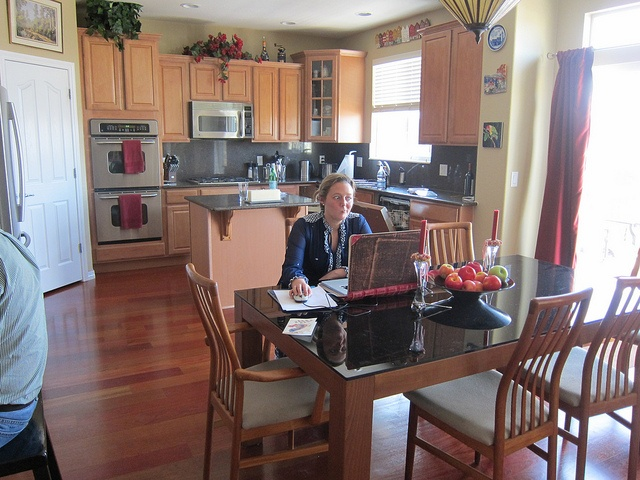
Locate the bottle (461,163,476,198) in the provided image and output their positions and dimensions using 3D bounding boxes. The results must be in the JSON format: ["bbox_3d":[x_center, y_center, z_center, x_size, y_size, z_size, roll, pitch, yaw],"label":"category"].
[{"bbox_3d":[1.680,-0.691,5.477,0.090,0.358,0.197,-1,12,-2],"label":"bottle"}]

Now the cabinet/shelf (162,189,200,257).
[{"bbox_3d":[-1.728,-0.209,6.472,0.554,1.032,0.582,-3,-6,-10],"label":"cabinet/shelf"}]

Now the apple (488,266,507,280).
[{"bbox_3d":[0.928,0.169,2.528,0.072,0.074,0.072,22,-3,29],"label":"apple"}]

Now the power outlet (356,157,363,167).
[{"bbox_3d":[0.605,-1.191,7.340,0.021,0.169,0.163,0,3,-28],"label":"power outlet"}]

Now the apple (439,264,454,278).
[{"bbox_3d":[0.676,0.174,2.582,0.065,0.068,0.066,14,-21,-24],"label":"apple"}]

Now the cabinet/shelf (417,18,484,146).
[{"bbox_3d":[1.380,-1.755,5.433,0.894,1.285,0.430,-10,22,-18],"label":"cabinet/shelf"}]

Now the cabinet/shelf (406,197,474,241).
[{"bbox_3d":[1.286,-0.197,5.320,0.385,0.746,0.763,-1,7,-21],"label":"cabinet/shelf"}]

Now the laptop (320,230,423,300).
[{"bbox_3d":[0.277,0.089,2.672,0.472,0.343,0.343,-6,17,-28],"label":"laptop"}]

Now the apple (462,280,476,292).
[{"bbox_3d":[0.746,0.227,2.427,0.051,0.051,0.052,-5,4,-40],"label":"apple"}]

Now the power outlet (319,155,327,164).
[{"bbox_3d":[0.037,-1.287,7.690,0.162,0.194,0.024,-5,21,-14],"label":"power outlet"}]

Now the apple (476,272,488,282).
[{"bbox_3d":[0.835,0.181,2.493,0.049,0.049,0.050,-11,34,15],"label":"apple"}]

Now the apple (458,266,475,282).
[{"bbox_3d":[0.752,0.175,2.488,0.072,0.071,0.074,1,-11,-1],"label":"apple"}]

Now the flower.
[{"bbox_3d":[-1.293,-2.421,6.426,1.000,0.625,0.309,-4,12,-15],"label":"flower"}]

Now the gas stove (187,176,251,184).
[{"bbox_3d":[-1.362,-0.839,6.691,0.893,0.083,0.749,-3,12,-14],"label":"gas stove"}]

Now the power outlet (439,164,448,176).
[{"bbox_3d":[1.492,-0.841,5.847,0.019,0.152,0.149,-5,12,-20],"label":"power outlet"}]

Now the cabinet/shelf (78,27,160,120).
[{"bbox_3d":[-2.414,-1.937,5.986,0.905,1.083,0.541,-3,0,-13],"label":"cabinet/shelf"}]

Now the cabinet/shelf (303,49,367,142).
[{"bbox_3d":[0.180,-2.095,7.185,0.936,1.292,0.728,7,19,19],"label":"cabinet/shelf"}]

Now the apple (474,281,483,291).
[{"bbox_3d":[0.797,0.234,2.430,0.047,0.042,0.040,-2,16,36],"label":"apple"}]

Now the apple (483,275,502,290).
[{"bbox_3d":[0.857,0.208,2.422,0.071,0.074,0.071,-6,-5,-7],"label":"apple"}]

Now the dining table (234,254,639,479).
[{"bbox_3d":[0.682,0.527,2.750,2.025,0.553,1.171,-8,13,-32],"label":"dining table"}]

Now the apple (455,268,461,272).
[{"bbox_3d":[0.748,0.165,2.625,0.033,0.026,0.034,-1,3,-14],"label":"apple"}]

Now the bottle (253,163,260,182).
[{"bbox_3d":[-0.915,-0.999,7.089,0.121,0.216,0.355,-1,11,-4],"label":"bottle"}]

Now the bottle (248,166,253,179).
[{"bbox_3d":[-1.020,-0.992,7.079,0.077,0.176,0.156,-2,12,-9],"label":"bottle"}]

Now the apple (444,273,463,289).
[{"bbox_3d":[0.674,0.212,2.438,0.072,0.076,0.073,-8,26,-20],"label":"apple"}]
